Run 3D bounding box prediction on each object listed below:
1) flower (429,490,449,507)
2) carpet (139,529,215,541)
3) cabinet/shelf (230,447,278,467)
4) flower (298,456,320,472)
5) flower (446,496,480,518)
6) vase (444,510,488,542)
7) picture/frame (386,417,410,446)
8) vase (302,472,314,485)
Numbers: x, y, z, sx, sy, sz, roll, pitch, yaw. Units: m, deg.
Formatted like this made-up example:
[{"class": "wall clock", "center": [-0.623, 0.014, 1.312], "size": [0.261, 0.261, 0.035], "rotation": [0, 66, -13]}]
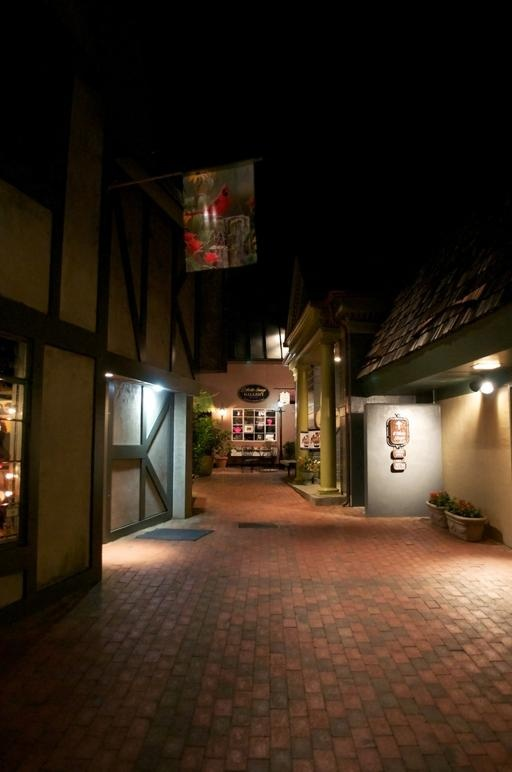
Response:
[{"class": "flower", "center": [3.444, 2.089, 8.891], "size": [0.241, 0.202, 0.258], "rotation": [4, 3, -14]}, {"class": "carpet", "center": [-1.381, 2.487, 8.028], "size": [1.135, 0.036, 0.830], "rotation": [-1, -6, 12]}, {"class": "cabinet/shelf", "center": [-0.214, 3.526, 23.947], "size": [2.513, 1.001, 2.375], "rotation": [0, -6, 3]}, {"class": "flower", "center": [1.757, 2.505, 15.616], "size": [0.467, 0.388, 0.517], "rotation": [1, -6, 2]}, {"class": "flower", "center": [3.486, 2.006, 7.995], "size": [0.233, 0.177, 0.349], "rotation": [3, 0, -3]}, {"class": "vase", "center": [3.476, 2.284, 7.773], "size": [0.341, 0.283, 0.559], "rotation": [1, -5, -3]}, {"class": "picture/frame", "center": [2.896, 0.930, 9.742], "size": [0.475, 0.815, 0.078], "rotation": [1, -7, -2]}, {"class": "vase", "center": [1.642, 2.905, 15.162], "size": [0.293, 0.373, 0.321], "rotation": [1, 1, -7]}]
